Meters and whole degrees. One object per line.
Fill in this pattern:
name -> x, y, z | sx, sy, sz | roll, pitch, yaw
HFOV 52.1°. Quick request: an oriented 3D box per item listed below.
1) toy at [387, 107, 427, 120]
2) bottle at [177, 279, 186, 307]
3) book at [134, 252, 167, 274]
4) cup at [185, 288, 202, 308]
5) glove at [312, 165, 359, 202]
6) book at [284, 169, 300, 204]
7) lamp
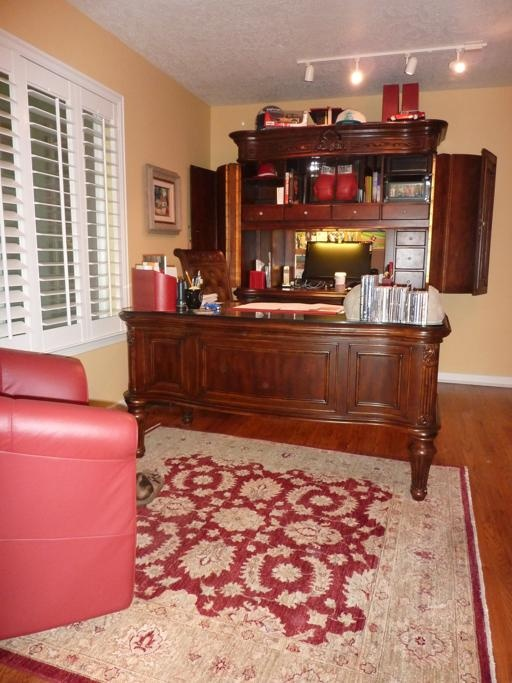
toy -> 1.223, -1.826, 4.218 | 0.241, 0.072, 0.146 | 10, 38, 14
bottle -> -0.404, -0.263, 2.830 | 0.044, 0.149, 0.052 | 0, 10, -6
book -> -0.556, -0.415, 2.783 | 0.161, 0.088, 0.140 | -1, 9, -13
cup -> -0.334, -0.235, 2.819 | 0.089, 0.111, 0.102 | -1, 9, -12
glove -> 0.733, -1.402, 4.721 | 0.358, 0.347, 0.141 | 1, -16, 13
book -> 0.327, -1.414, 4.796 | 0.065, 0.273, 0.270 | 3, 9, 17
lamp -> 1.004, -2.036, 3.981 | 1.342, 0.238, 0.683 | 3, 9, 15
